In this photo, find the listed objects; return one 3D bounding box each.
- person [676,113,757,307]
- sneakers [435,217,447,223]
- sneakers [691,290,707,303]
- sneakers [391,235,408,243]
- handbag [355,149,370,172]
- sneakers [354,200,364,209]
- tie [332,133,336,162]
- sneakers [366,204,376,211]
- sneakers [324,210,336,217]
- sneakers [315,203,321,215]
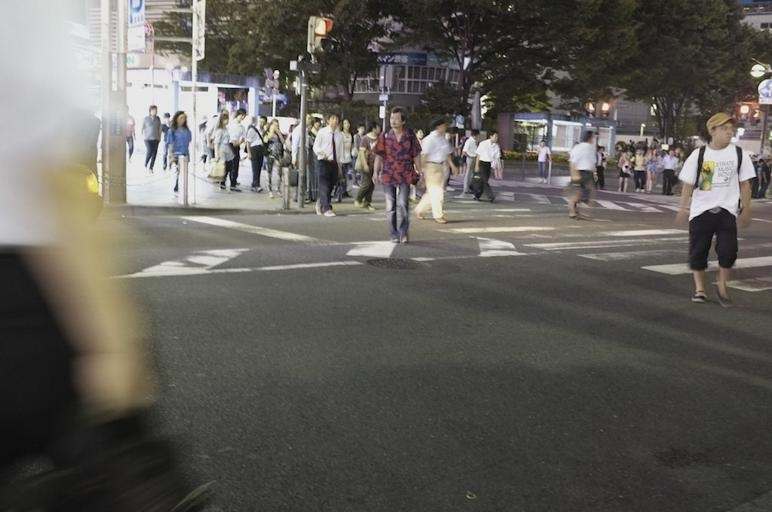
[{"bbox_3d":[3.749,-0.543,7.894,0.784,2.162,0.586,5,10,22],"label":"person"},{"bbox_3d":[1.121,-0.727,13.914,0.265,0.109,0.319,3,11,0],"label":"sneakers"},{"bbox_3d":[3.646,0.477,8.030,0.090,0.106,0.223,-3,3,7],"label":"sneakers"},{"bbox_3d":[0.216,-0.276,11.049,0.093,0.142,0.295,0,-1,-12],"label":"sneakers"},{"bbox_3d":[-0.561,-2.310,16.654,0.389,0.849,0.662,0,4,-6],"label":"handbag"},{"bbox_3d":[-0.639,-1.207,15.842,0.142,0.184,0.263,-5,13,-35],"label":"sneakers"},{"bbox_3d":[-1.105,-2.312,14.640,0.105,0.582,0.219,1,9,-5],"label":"tie"},{"bbox_3d":[-0.372,-1.126,15.852,0.105,0.093,0.277,-13,2,6],"label":"sneakers"},{"bbox_3d":[-1.182,-0.895,14.285,0.105,0.111,0.243,0,4,-29],"label":"sneakers"},{"bbox_3d":[-1.455,-1.026,14.547,0.116,0.111,0.316,-25,34,1],"label":"sneakers"}]
